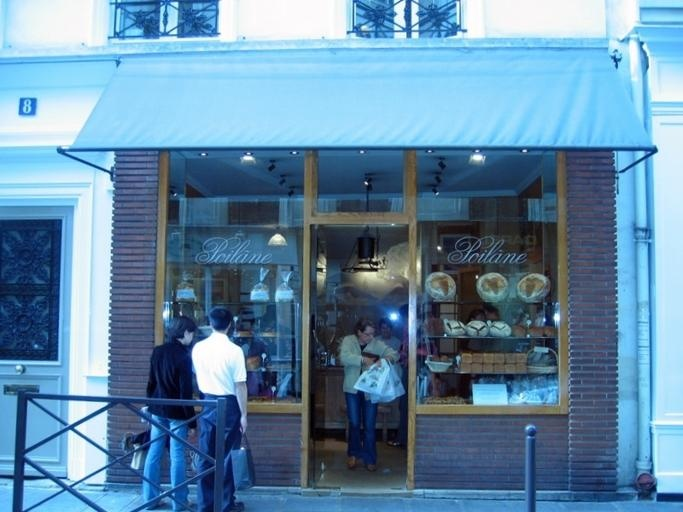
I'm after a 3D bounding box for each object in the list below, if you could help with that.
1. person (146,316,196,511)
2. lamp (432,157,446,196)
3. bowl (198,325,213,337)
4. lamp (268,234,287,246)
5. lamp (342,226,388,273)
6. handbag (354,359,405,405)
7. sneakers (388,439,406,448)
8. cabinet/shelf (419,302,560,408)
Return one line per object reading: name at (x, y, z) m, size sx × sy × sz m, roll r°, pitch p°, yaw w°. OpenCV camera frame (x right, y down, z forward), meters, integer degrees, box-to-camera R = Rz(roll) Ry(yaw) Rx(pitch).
person at (-2.014, 1.869, 13.811) m, size 0.595 × 2.312 × 1.448 m, roll 1°, pitch -6°, yaw -10°
lamp at (1.229, -1.007, 14.782) m, size 0.178 × 0.468 × 0.069 m, roll 0°, pitch -6°, yaw 2°
bowl at (-1.730, 0.946, 14.822) m, size 0.207 × 0.189 × 0.105 m, roll -3°, pitch 9°, yaw 1°
lamp at (-0.807, -0.190, 14.885) m, size 0.183 × 0.165 × 0.168 m, roll 3°, pitch -7°, yaw -22°
lamp at (0.240, -0.090, 15.682) m, size 0.600 × 0.641 × 0.614 m, roll 2°, pitch 3°, yaw 22°
handbag at (0.494, 1.615, 15.214) m, size 0.574 × 0.542 × 0.309 m, roll -3°, pitch -40°, yaw 11°
sneakers at (0.834, 2.686, 16.678) m, size 0.355 × 0.095 × 0.127 m, roll 4°, pitch -4°, yaw 14°
cabinet/shelf at (1.848, 1.295, 14.675) m, size 1.327 × 1.083 × 0.459 m, roll 0°, pitch -5°, yaw 1°
